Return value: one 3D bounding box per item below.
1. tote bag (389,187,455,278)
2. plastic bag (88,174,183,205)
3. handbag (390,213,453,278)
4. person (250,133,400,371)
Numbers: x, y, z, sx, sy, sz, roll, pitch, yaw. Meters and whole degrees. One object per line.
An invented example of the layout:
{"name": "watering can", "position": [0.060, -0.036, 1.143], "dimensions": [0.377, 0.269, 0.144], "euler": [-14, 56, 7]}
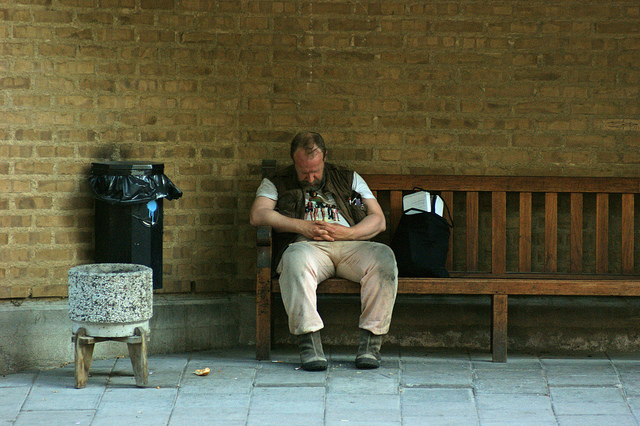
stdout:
{"name": "tote bag", "position": [0.880, 0.206, 7.765], "dimensions": [0.506, 0.692, 0.420], "euler": [-2, 7, 3]}
{"name": "plastic bag", "position": [-1.599, -0.250, 7.888], "dimensions": [0.854, 0.197, 0.635], "euler": [0, 8, -4]}
{"name": "handbag", "position": [0.868, 0.287, 7.959], "dimensions": [0.570, 0.559, 0.600], "euler": [-1, -1, 7]}
{"name": "person", "position": [0.060, 0.289, 7.745], "dimensions": [1.146, 1.995, 1.175], "euler": [-5, 7, -20]}
